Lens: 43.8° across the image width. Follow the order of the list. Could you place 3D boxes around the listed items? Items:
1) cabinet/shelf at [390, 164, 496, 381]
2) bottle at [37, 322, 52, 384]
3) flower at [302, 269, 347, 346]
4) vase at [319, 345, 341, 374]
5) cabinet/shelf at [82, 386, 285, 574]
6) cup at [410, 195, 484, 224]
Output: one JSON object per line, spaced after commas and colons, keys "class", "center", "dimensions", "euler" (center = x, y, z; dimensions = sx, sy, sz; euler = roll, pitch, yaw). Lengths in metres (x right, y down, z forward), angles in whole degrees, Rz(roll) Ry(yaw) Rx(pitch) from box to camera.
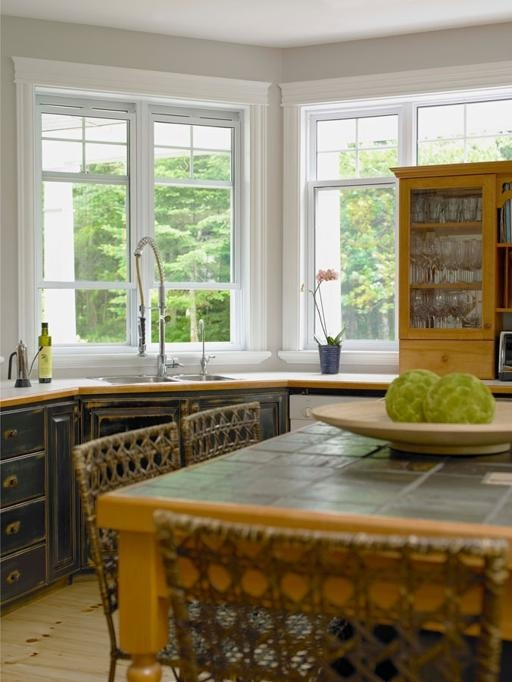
{"class": "cabinet/shelf", "center": [1.095, -0.399, 3.615], "dimensions": [0.589, 1.205, 0.246], "euler": [-2, 7, 18]}
{"class": "bottle", "center": [-1.116, 0.056, 3.373], "dimensions": [0.070, 0.309, 0.177], "euler": [-5, 6, -10]}
{"class": "flower", "center": [0.437, -0.216, 4.125], "dimensions": [0.257, 0.501, 0.469], "euler": [-4, 6, 0]}
{"class": "vase", "center": [0.416, 0.110, 3.926], "dimensions": [0.184, 0.167, 0.168], "euler": [0, -3, 3]}
{"class": "cabinet/shelf", "center": [-0.406, 0.675, 3.445], "dimensions": [1.107, 0.861, 0.328], "euler": [-2, 7, -21]}
{"class": "cup", "center": [1.093, -0.761, 3.671], "dimensions": [0.367, 0.174, 0.096], "euler": [2, 9, 28]}
